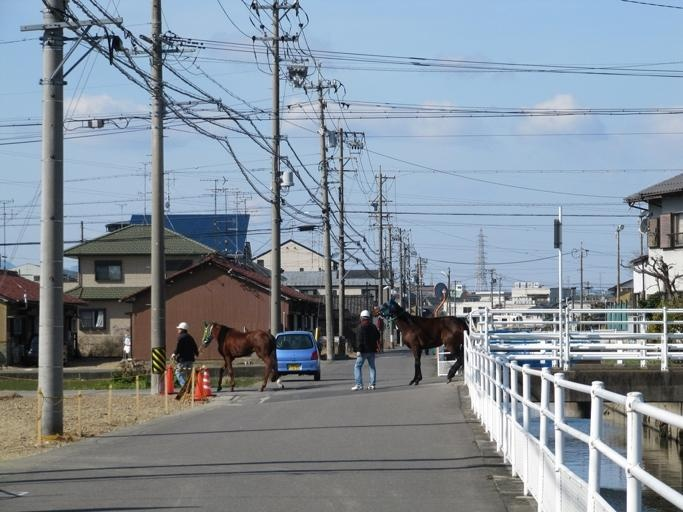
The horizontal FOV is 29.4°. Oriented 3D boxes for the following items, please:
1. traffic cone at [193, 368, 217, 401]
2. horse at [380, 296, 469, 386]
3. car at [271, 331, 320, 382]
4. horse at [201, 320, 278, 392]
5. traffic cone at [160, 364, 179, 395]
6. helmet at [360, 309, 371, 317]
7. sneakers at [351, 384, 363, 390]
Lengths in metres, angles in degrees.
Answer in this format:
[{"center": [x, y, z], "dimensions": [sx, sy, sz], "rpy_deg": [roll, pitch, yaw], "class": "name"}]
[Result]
[{"center": [-3.581, 3.340, 33.681], "dimensions": [0.622, 0.764, 0.672], "rpy_deg": [0, -5, -6], "class": "traffic cone"}, {"center": [2.250, 2.377, 35.914], "dimensions": [2.672, 2.353, 0.846], "rpy_deg": [0, 8, 7], "class": "horse"}, {"center": [-1.377, 2.990, 39.794], "dimensions": [0.950, 0.862, 1.712], "rpy_deg": [0, 4, 2], "class": "car"}, {"center": [-2.856, 2.810, 36.277], "dimensions": [2.277, 1.978, 0.627], "rpy_deg": [0, 1, 15], "class": "horse"}, {"center": [-4.698, 3.367, 35.371], "dimensions": [0.809, 1.003, 0.853], "rpy_deg": [1, -5, -8], "class": "traffic cone"}, {"center": [0.608, 1.445, 33.826], "dimensions": [0.225, 0.257, 0.312], "rpy_deg": [1, -6, -4], "class": "helmet"}, {"center": [0.388, 3.508, 34.890], "dimensions": [0.144, 0.151, 0.331], "rpy_deg": [-2, 5, -40], "class": "sneakers"}]
